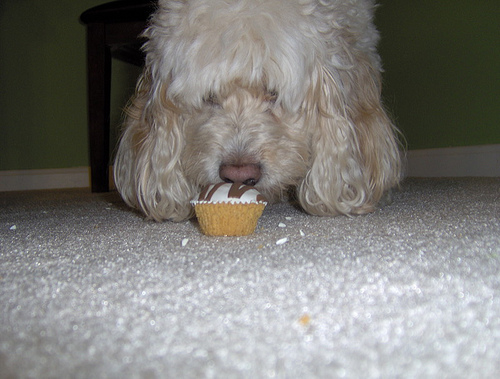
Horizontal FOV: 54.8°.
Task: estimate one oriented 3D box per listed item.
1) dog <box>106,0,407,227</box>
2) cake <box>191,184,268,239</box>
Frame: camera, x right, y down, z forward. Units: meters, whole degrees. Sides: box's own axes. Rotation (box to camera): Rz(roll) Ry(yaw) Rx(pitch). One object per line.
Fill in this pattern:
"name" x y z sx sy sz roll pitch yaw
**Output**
"dog" 0.069 -0.266 1.730 0.604 0.677 0.807 3 16 7
"cake" -0.054 0.045 1.205 0.181 0.138 0.181 2 -1 -26
